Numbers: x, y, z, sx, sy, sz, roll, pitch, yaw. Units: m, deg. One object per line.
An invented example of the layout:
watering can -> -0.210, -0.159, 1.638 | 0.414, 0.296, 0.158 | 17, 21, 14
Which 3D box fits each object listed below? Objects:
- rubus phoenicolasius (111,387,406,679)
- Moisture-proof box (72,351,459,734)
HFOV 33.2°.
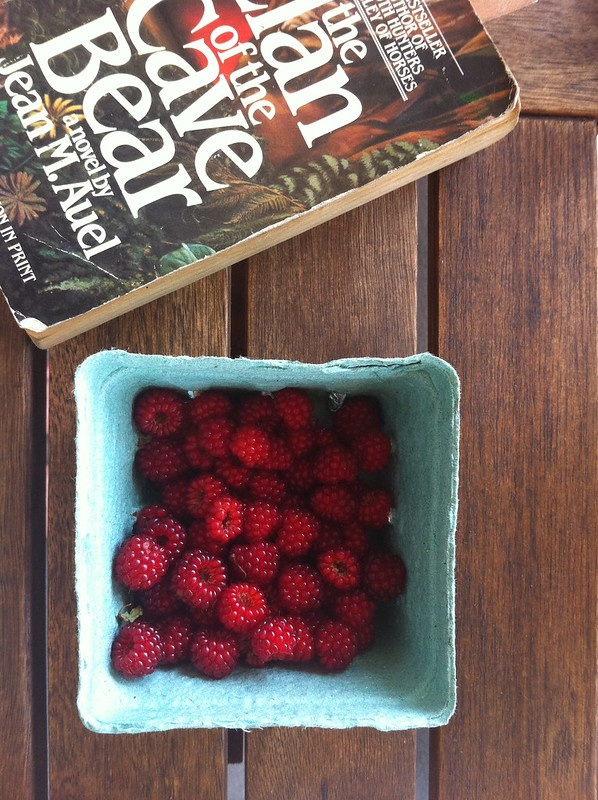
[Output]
rubus phoenicolasius -> -0.046, 0.114, 1.021 | 0.265, 0.077, 0.253 | -1, 92, -9
Moisture-proof box -> -0.023, 0.126, 0.883 | 0.320, 0.184, 0.306 | -1, 77, 2
